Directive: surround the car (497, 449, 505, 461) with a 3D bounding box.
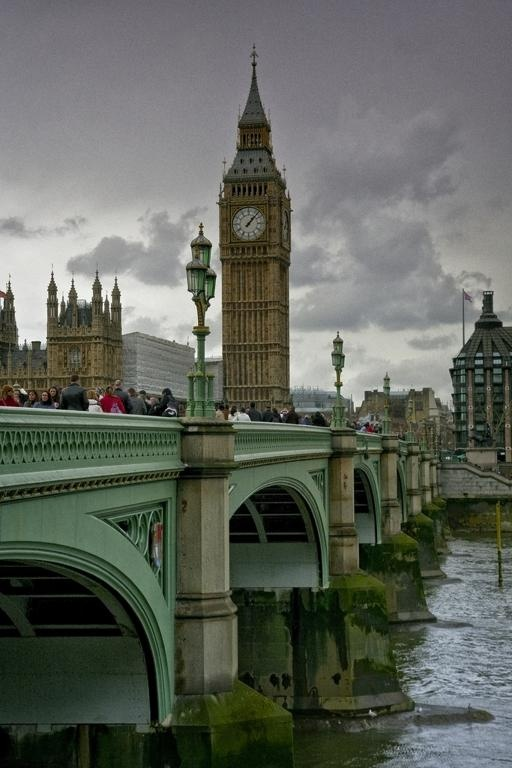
[{"bbox_3d":[28.523,8.228,124.288,1.015,1.558,2.131,11,2,15],"label":"car"}]
